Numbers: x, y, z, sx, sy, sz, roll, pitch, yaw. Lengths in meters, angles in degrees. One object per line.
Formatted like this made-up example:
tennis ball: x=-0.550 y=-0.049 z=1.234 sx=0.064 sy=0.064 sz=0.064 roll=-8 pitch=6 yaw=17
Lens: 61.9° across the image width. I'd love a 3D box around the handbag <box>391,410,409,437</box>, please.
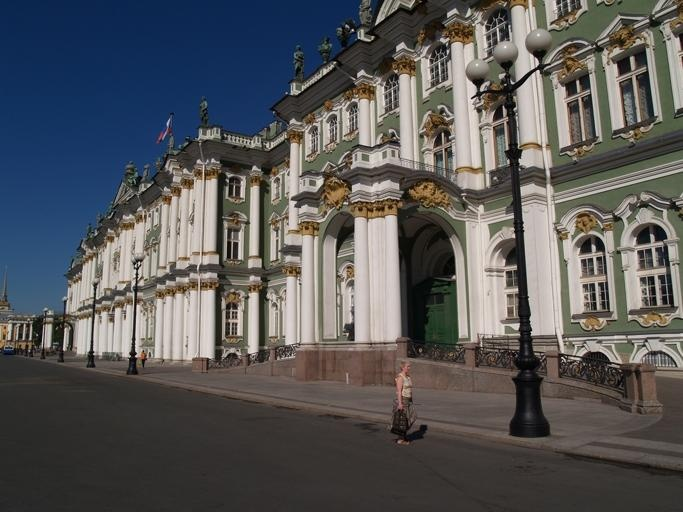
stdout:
handbag: x=1.308 y=3.717 z=12.760 sx=0.427 sy=0.609 sz=0.245 roll=-6 pitch=-12 yaw=19
